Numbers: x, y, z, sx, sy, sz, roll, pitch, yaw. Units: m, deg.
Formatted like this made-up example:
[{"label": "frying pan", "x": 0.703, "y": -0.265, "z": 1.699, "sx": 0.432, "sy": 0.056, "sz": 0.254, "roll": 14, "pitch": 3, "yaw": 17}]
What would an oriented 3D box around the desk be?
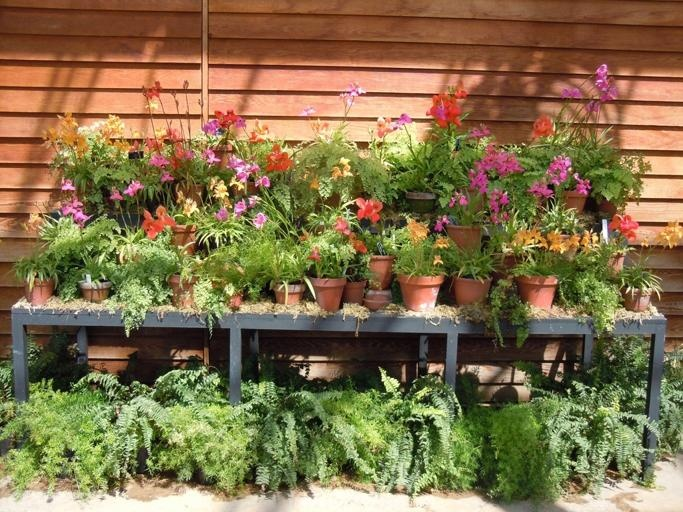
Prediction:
[{"label": "desk", "x": 0.005, "y": 0.865, "z": 5.155, "sx": 4.818, "sy": 1.084, "sz": 0.898, "roll": 3, "pitch": -9, "yaw": -1}]
